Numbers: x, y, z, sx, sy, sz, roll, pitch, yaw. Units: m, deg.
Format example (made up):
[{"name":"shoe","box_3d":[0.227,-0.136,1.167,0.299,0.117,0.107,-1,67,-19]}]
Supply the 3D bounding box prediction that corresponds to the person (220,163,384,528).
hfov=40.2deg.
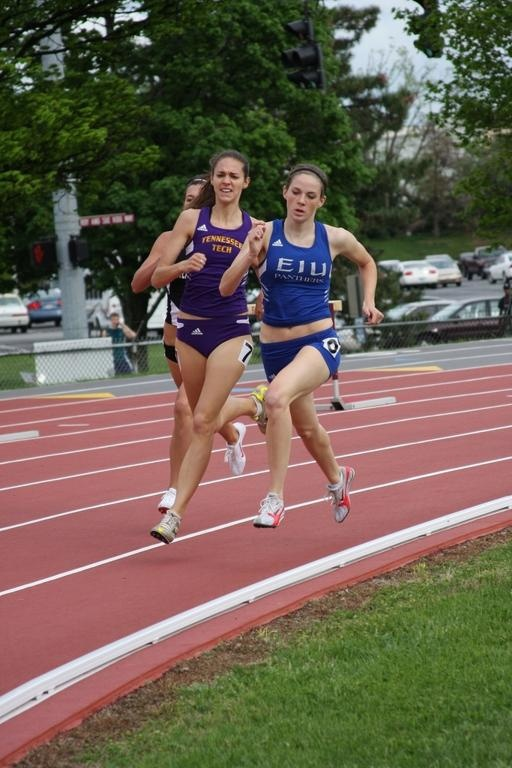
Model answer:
[{"name":"person","box_3d":[0.305,-0.192,4.177,0.806,2.327,1.252,-3,2,13]}]

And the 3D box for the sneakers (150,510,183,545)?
[{"name":"sneakers","box_3d":[-0.498,0.807,3.916,0.134,0.150,0.234,-3,2,5]}]

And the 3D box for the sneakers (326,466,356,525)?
[{"name":"sneakers","box_3d":[0.538,0.692,4.640,0.195,0.422,0.146,-2,-1,-28]}]

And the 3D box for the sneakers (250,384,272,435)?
[{"name":"sneakers","box_3d":[0.033,0.193,5.607,0.179,0.380,0.132,-15,7,-21]}]

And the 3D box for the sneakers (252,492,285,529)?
[{"name":"sneakers","box_3d":[0.070,0.737,4.187,0.118,0.151,0.343,-4,1,17]}]
